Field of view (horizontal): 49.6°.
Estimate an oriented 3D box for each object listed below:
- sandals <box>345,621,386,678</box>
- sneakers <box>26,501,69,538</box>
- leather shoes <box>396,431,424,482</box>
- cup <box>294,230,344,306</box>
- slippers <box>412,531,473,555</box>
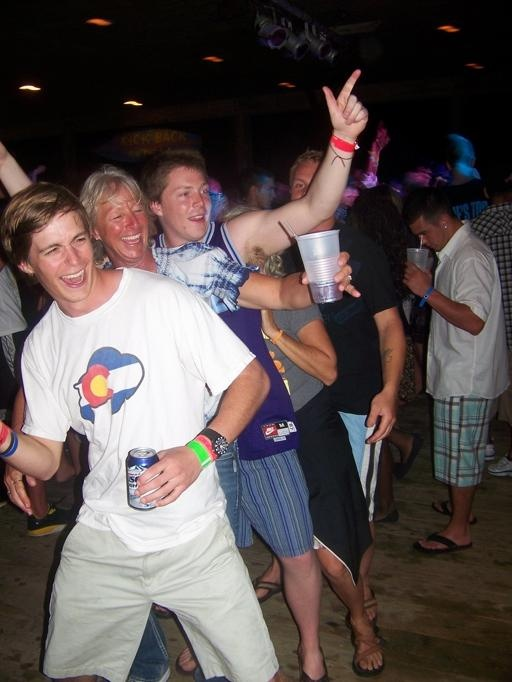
[{"bbox_3d":[0.479,1.315,2.444,0.159,0.147,0.315,-2,10,8],"label":"sandals"},{"bbox_3d":[-1.329,1.172,3.699,0.147,0.145,0.391,7,8,33],"label":"sneakers"},{"bbox_3d":[1.107,0.864,4.128,0.187,0.396,0.139,15,14,-2],"label":"leather shoes"},{"bbox_3d":[0.209,-0.238,1.794,0.137,0.238,0.200,-3,11,5],"label":"cup"},{"bbox_3d":[1.067,1.170,3.211,0.276,0.066,0.132,1,1,4],"label":"slippers"}]
